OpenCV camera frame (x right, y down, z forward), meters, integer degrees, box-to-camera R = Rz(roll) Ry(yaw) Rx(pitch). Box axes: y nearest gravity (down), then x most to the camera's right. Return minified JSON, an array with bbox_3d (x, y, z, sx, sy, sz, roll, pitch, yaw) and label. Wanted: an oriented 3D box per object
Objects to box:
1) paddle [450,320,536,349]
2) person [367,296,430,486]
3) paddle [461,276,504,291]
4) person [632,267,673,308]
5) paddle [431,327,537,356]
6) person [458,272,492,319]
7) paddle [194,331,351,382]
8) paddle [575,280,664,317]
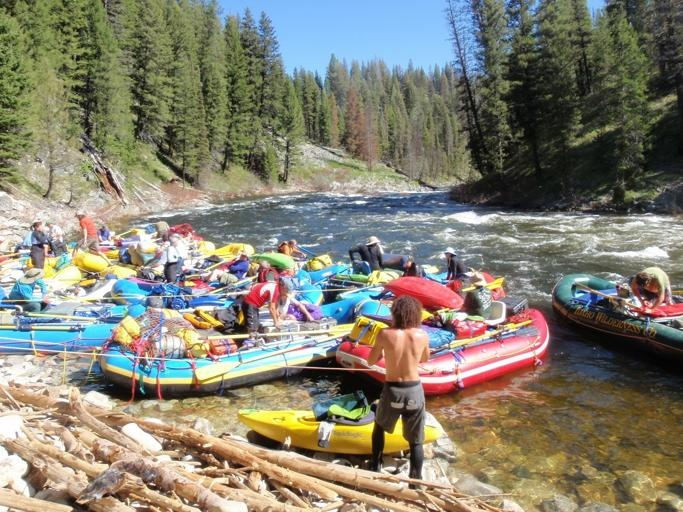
[{"bbox_3d":[3.037,1.610,10.430,1.978,0.202,0.288,-11,-2,-18],"label":"paddle"},{"bbox_3d":[0.765,1.674,6.548,0.749,2.316,0.300,-3,5,5],"label":"person"},{"bbox_3d":[3.630,0.697,12.922,2.344,0.237,0.402,0,4,-42],"label":"paddle"},{"bbox_3d":[7.010,0.651,11.473,0.836,0.700,0.926,4,24,4],"label":"person"},{"bbox_3d":[3.023,1.676,10.371,1.819,0.220,0.763,-7,14,-16],"label":"paddle"},{"bbox_3d":[2.999,0.833,11.445,0.815,0.404,1.073,4,38,5],"label":"person"},{"bbox_3d":[-1.275,1.914,9.847,2.897,0.371,0.727,-10,15,-21],"label":"paddle"},{"bbox_3d":[6.379,1.017,11.509,1.359,0.387,0.197,20,53,42],"label":"paddle"}]
